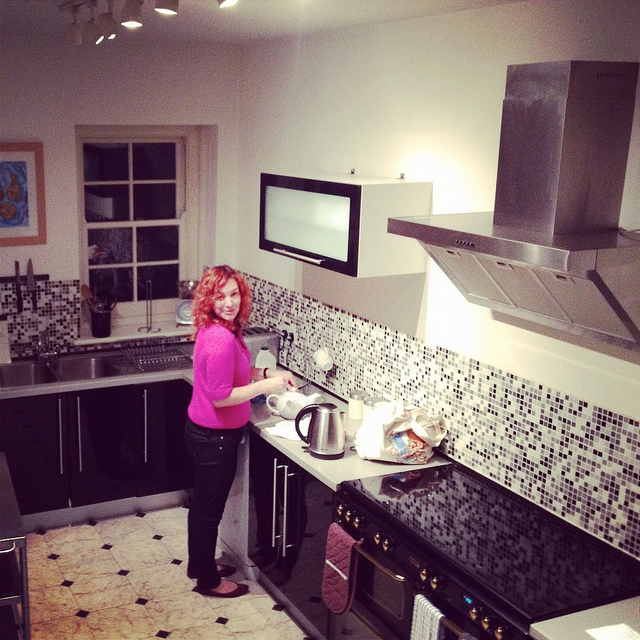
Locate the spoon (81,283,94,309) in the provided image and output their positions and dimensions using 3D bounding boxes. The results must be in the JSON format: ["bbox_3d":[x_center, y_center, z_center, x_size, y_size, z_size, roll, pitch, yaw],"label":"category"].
[{"bbox_3d":[-1.601,-0.179,4.093,0.052,0.223,0.023,-19,10,-29],"label":"spoon"}]

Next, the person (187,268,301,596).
[{"bbox_3d":[-0.464,0.587,3.101,0.467,1.722,0.565,-1,8,-14],"label":"person"}]

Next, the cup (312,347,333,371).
[{"bbox_3d":[0.026,0.227,3.421,0.113,0.122,0.151,-2,9,-20],"label":"cup"}]

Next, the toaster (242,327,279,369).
[{"bbox_3d":[-0.387,0.182,3.840,0.260,0.292,0.155,0,0,38],"label":"toaster"}]

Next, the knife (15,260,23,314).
[{"bbox_3d":[-1.934,-0.199,3.810,0.033,0.375,0.028,-1,14,-11],"label":"knife"}]

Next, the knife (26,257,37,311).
[{"bbox_3d":[-1.873,-0.243,3.854,0.053,0.387,0.025,-1,2,-20],"label":"knife"}]

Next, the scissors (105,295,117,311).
[{"bbox_3d":[-1.507,-0.123,4.271,0.021,0.112,0.102,8,-11,-33],"label":"scissors"}]
